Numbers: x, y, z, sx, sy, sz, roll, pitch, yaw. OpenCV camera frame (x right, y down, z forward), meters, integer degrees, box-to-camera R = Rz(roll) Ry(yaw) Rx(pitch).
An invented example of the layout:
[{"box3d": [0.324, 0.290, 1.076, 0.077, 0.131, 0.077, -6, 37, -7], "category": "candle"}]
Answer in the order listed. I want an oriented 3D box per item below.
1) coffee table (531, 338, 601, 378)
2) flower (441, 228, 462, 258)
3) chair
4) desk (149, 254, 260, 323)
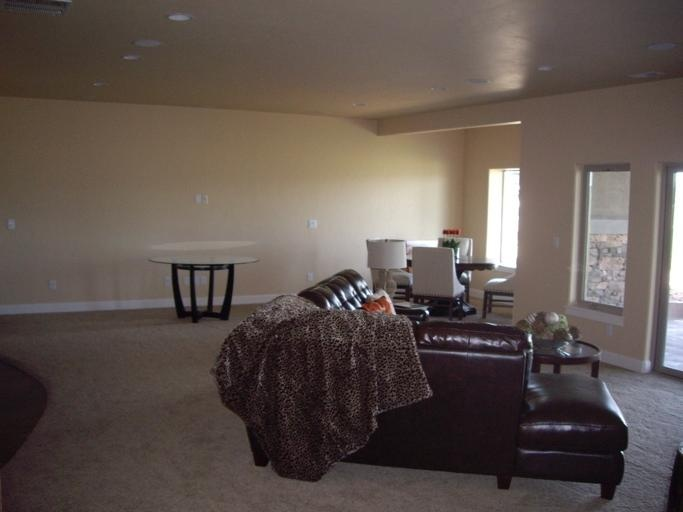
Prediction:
[{"box3d": [1.828, 0.796, 4.429, 0.425, 0.295, 0.427, -2, 3, -8], "category": "coffee table"}, {"box3d": [1.732, -0.268, 8.711, 0.200, 0.367, 0.251, 11, 17, 10], "category": "flower"}, {"box3d": [0.939, 0.277, 6.776, 1.177, 1.449, 1.026, 0, 1, -10], "category": "chair"}, {"box3d": [-1.961, 0.482, 7.442, 1.196, 0.706, 1.207, -8, -4, 21], "category": "desk"}]
